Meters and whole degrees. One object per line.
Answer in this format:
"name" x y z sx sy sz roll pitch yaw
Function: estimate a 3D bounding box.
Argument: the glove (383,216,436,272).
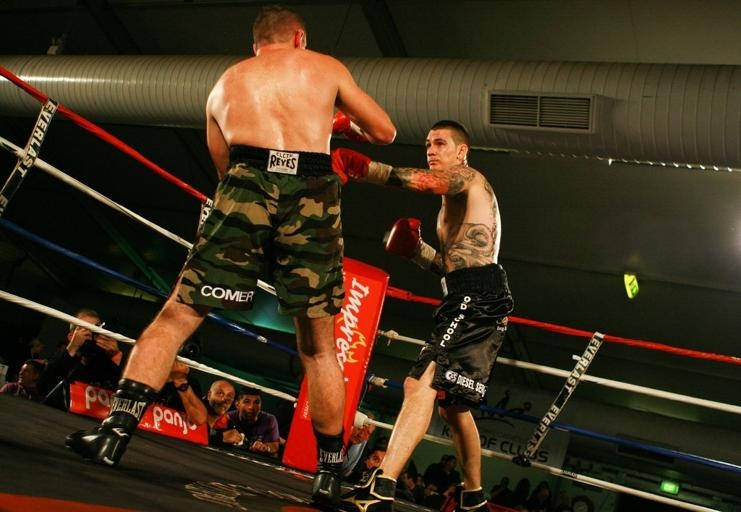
"glove" 0.246 -0.073 3.639 0.267 0.144 0.376 28 -9 18

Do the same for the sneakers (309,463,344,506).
"sneakers" -0.191 1.067 2.707 0.151 0.197 0.112 24 -21 -9

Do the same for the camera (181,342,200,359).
"camera" -1.109 0.567 3.582 0.130 0.089 0.097 5 1 15

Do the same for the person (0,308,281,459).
"person" -1.798 0.931 4.446 2.650 0.522 0.453 27 -31 -32

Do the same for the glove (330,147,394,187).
"glove" -0.085 -0.449 3.094 0.454 0.166 0.321 2 7 -16

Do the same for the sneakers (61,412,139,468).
"sneakers" -1.178 0.758 2.521 0.358 0.214 0.125 0 -31 37
